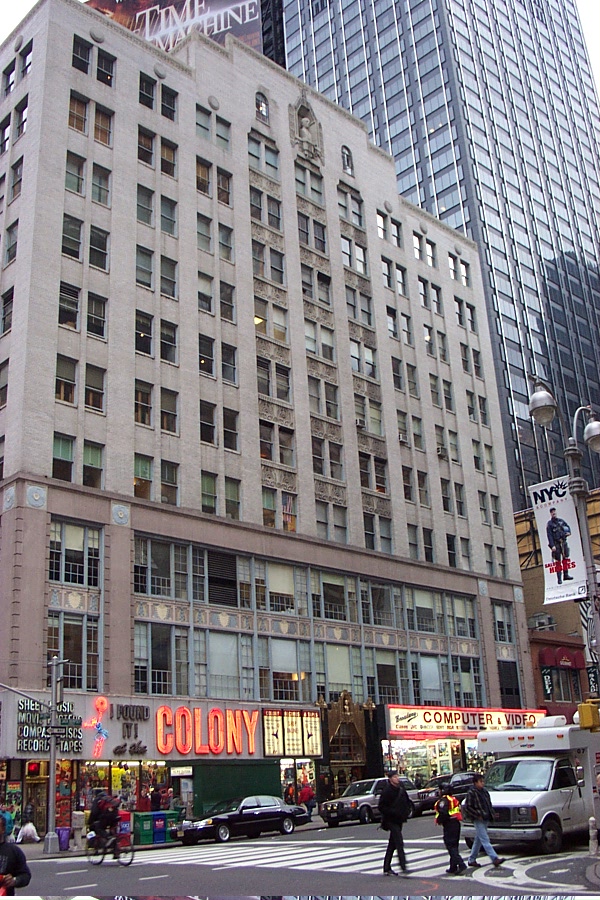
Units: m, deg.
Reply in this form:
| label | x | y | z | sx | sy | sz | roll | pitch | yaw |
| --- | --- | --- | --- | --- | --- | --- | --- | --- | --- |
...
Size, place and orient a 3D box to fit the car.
| label | x | y | z | sx | sy | sz | roll | pitch | yaw |
| --- | --- | --- | --- | --- | --- | --- | --- | --- | --- |
| car | -1.836 | 12.197 | 26.632 | 1.134 | 1.373 | 4.832 | -20 | -23 | 36 |

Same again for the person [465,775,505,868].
| label | x | y | z | sx | sy | sz | roll | pitch | yaw |
| --- | --- | --- | --- | --- | --- | --- | --- | --- | --- |
| person | 3.235 | 6.747 | 14.664 | 0.586 | 1.587 | 1.803 | -8 | -19 | 8 |

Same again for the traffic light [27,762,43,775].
| label | x | y | z | sx | sy | sz | roll | pitch | yaw |
| --- | --- | --- | --- | --- | --- | --- | --- | --- | --- |
| traffic light | -9.502 | 11.345 | 28.876 | 0.121 | 0.480 | 0.601 | -19 | -23 | 35 |
